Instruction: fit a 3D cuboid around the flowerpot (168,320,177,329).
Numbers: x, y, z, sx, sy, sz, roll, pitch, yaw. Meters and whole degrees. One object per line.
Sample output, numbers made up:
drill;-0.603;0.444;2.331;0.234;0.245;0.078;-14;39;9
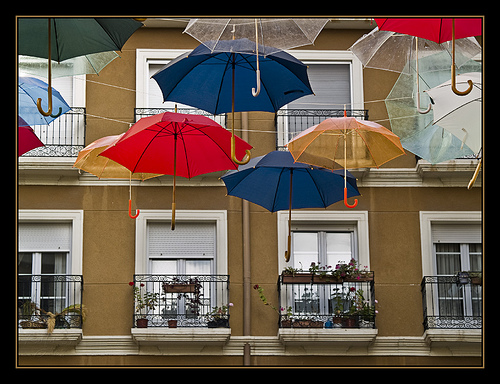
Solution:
flowerpot;-1.273;2.183;19.049;0.118;0.085;0.121;6;-29;-8

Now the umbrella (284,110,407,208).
umbrella;1.224;-0.364;15.889;1.479;1.342;1.844;4;-13;-23

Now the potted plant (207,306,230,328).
potted plant;-0.523;2.108;19.244;0.336;0.337;0.328;3;-18;-6

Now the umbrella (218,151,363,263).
umbrella;0.621;0.347;17.555;1.825;1.425;2.055;9;9;30

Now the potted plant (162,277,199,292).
potted plant;-1.140;1.540;19.134;0.638;0.258;0.253;3;-13;-22

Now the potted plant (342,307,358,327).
potted plant;1.637;2.095;19.121;0.281;0.212;0.251;5;-29;-1

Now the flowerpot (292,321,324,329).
flowerpot;0.916;2.188;19.103;0.609;0.082;0.148;-1;6;8

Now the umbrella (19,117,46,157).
umbrella;-2.960;-0.927;15.743;0.304;0.590;1.604;1;-12;-11

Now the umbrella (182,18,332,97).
umbrella;0.092;-1.999;14.398;1.296;0.984;1.265;6;-17;-26

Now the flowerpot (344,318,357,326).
flowerpot;1.650;2.165;19.122;0.202;0.147;0.050;-2;-11;1

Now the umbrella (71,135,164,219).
umbrella;-2.051;-0.487;17.246;1.376;1.049;1.319;2;-17;-4

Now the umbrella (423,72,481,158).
umbrella;2.836;-1.044;15.701;0.863;0.907;0.806;4;34;29

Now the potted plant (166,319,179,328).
potted plant;-1.280;2.185;19.118;0.210;0.166;0.310;-1;-12;-4

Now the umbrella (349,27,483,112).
umbrella;2.247;-1.954;16.321;1.484;1.090;1.532;7;-44;16

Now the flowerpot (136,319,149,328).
flowerpot;-1.774;2.181;19.110;0.126;0.109;0.146;3;-21;-7

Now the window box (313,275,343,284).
window box;1.282;1.453;19.220;0.484;0.146;0.178;-2;-12;2

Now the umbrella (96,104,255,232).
umbrella;-0.995;-0.595;15.108;1.770;1.545;1.715;-1;-21;0

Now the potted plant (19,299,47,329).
potted plant;-3.559;2.033;19.095;0.434;0.504;0.378;1;-12;-11

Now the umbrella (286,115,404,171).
umbrella;1.387;-0.818;16.744;1.746;0.685;1.836;7;11;5

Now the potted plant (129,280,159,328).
potted plant;-1.775;1.908;19.310;0.613;0.996;0.334;-4;-19;10

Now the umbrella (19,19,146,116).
umbrella;-2.187;-1.641;14.006;1.350;0.909;1.353;8;-15;-39

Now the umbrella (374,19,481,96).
umbrella;1.997;-1.822;12.964;1.054;0.806;1.078;7;-12;1

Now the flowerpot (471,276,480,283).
flowerpot;3.749;1.491;19.406;0.136;0.077;0.105;-1;-12;-3

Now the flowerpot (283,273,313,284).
flowerpot;0.784;1.452;19.374;0.481;0.198;0.264;-3;-12;5

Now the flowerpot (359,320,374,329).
flowerpot;1.914;2.191;19.230;0.245;0.117;0.061;4;-12;-24

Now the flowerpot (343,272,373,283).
flowerpot;1.783;1.410;19.278;0.500;0.167;0.266;-2;-12;2
